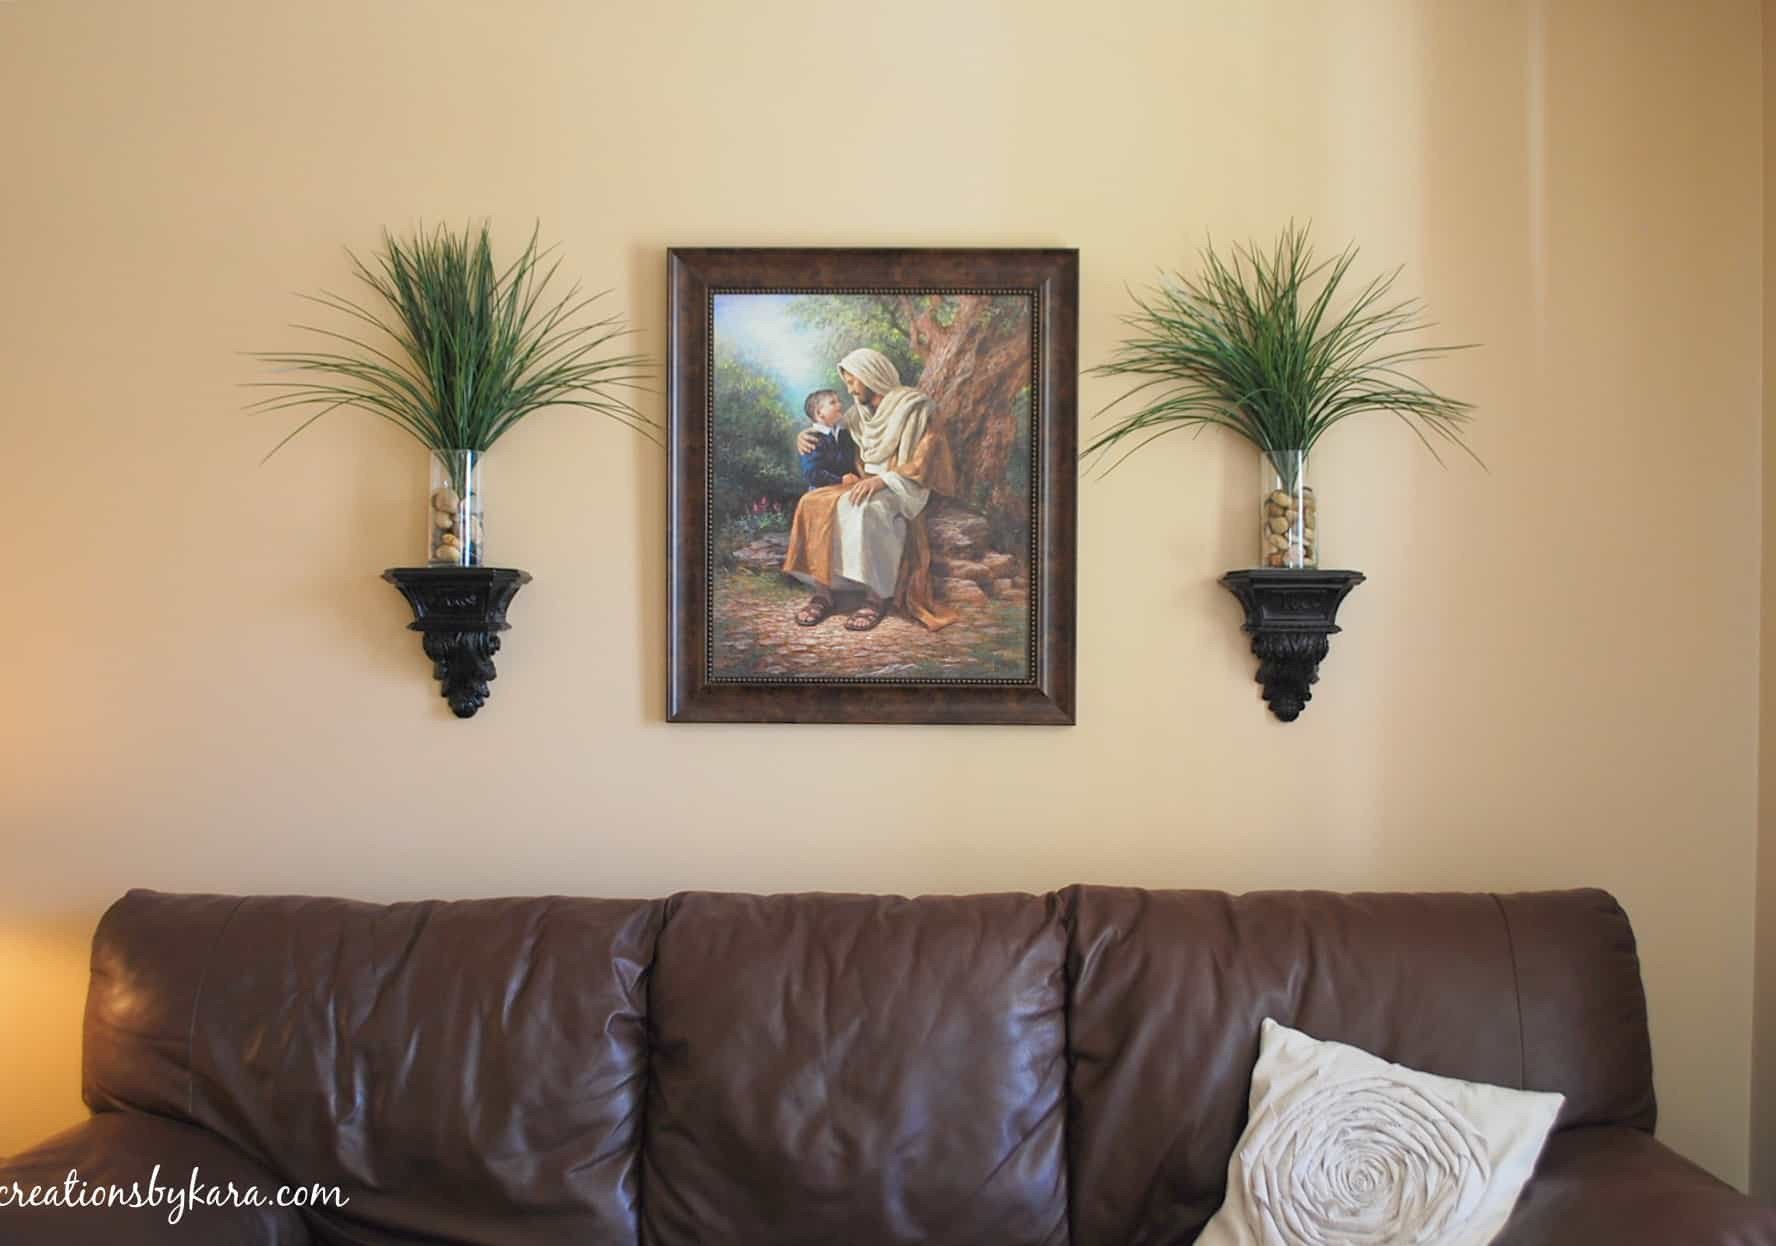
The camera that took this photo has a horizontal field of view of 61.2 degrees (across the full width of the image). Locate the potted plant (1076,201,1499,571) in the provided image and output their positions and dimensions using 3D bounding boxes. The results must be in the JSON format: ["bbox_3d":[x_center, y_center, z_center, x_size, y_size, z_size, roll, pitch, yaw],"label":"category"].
[{"bbox_3d":[0.934,-0.474,3.746,0.766,0.773,0.844,1,-4,3],"label":"potted plant"}]

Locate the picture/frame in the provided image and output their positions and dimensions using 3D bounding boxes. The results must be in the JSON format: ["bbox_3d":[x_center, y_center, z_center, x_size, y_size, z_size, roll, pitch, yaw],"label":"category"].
[{"bbox_3d":[-0.017,-0.329,3.481,0.998,1.259,0.098,1,-1,1],"label":"picture/frame"}]

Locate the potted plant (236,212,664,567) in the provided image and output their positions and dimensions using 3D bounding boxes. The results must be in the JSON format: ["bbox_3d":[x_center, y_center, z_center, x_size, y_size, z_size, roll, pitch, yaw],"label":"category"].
[{"bbox_3d":[-0.991,-0.483,3.568,0.781,0.749,0.815,1,2,27],"label":"potted plant"}]
